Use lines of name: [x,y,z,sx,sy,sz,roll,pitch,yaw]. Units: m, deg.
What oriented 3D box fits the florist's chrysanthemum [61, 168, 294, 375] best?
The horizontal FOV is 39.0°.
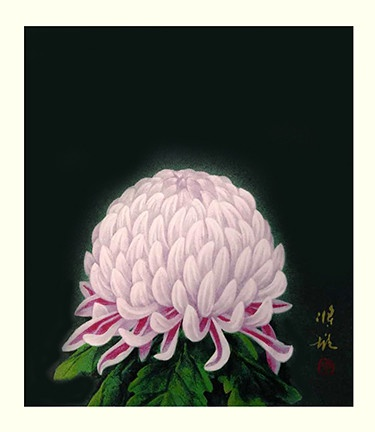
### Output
florist's chrysanthemum: [0.053,0.161,1.553,0.531,0.401,0.584,-8,-2,-37]
